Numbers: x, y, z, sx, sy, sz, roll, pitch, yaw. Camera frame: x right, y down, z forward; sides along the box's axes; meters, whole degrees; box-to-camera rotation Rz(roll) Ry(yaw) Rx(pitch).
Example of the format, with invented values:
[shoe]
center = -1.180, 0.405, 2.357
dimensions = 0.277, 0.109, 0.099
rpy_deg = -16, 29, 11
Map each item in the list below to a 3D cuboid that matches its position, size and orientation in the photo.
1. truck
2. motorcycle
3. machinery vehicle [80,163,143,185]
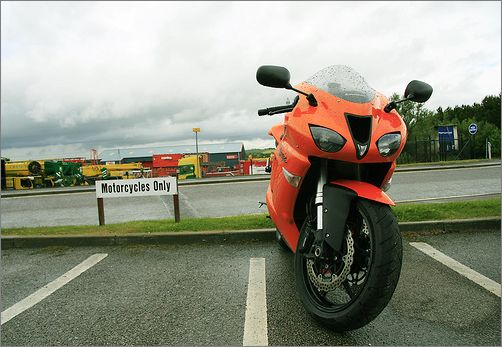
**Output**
[truck]
center = -3.284, -0.373, 36.645
dimensions = 5.125, 2.000, 2.916
rpy_deg = 1, 0, -9
[motorcycle]
center = 0.975, 0.183, 5.211
dimensions = 1.845, 2.988, 1.571
rpy_deg = 7, 17, 32
[machinery vehicle]
center = -8.788, -0.024, 26.676
dimensions = 0.985, 1.395, 4.009
rpy_deg = 7, 12, 44
